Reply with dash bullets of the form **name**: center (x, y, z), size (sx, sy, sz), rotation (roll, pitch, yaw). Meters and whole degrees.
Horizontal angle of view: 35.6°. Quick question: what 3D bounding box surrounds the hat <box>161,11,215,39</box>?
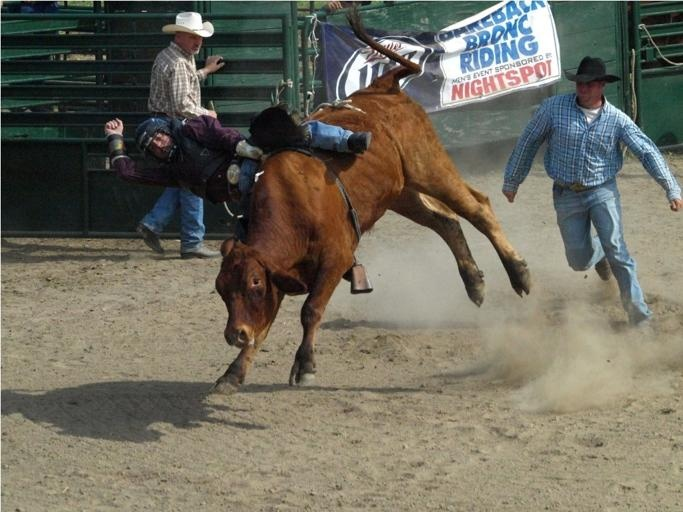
- **hat**: center (-1.544, -2.265, 10.395), size (0.377, 0.163, 0.385), rotation (7, 17, 29)

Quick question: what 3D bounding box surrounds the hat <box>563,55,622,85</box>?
- **hat**: center (2.244, -1.588, 9.283), size (0.428, 0.179, 0.357), rotation (1, 7, -40)

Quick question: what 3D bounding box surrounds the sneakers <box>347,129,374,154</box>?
- **sneakers**: center (0.145, -0.906, 8.450), size (0.093, 0.117, 0.221), rotation (-9, -4, 34)

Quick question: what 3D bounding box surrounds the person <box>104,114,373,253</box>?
- **person**: center (-0.894, -0.740, 9.201), size (2.157, 0.621, 1.286), rotation (-1, -15, -5)

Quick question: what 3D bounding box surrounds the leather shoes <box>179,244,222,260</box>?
- **leather shoes**: center (-1.556, -0.037, 11.847), size (0.504, 0.225, 0.183), rotation (-3, 10, -15)

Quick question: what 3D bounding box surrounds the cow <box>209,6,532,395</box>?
- **cow**: center (0.043, -0.567, 8.730), size (0.780, 2.895, 3.085), rotation (5, 11, 37)

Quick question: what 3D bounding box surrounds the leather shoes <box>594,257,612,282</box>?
- **leather shoes**: center (2.505, 0.125, 10.177), size (0.094, 0.111, 0.288), rotation (-35, 14, 18)
